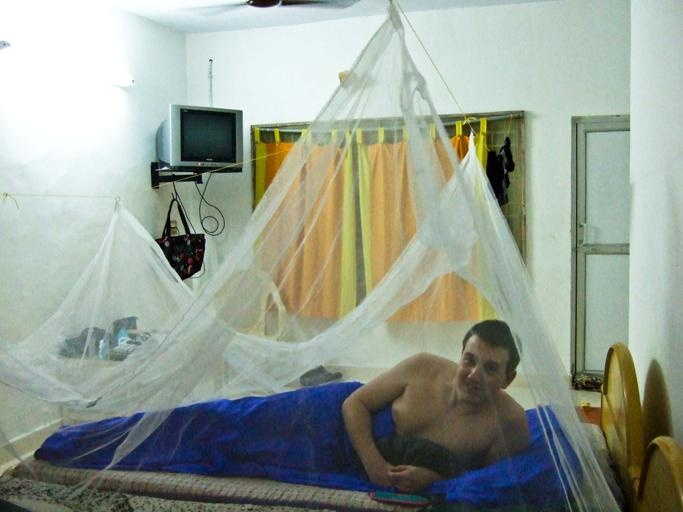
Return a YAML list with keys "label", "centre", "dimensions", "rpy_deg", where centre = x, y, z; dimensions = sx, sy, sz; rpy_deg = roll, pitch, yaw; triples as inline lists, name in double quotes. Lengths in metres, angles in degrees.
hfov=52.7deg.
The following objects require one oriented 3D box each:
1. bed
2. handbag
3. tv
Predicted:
- label: "bed"
  centre: [-0.096, 0.857, 3.013]
  dimensions: [1.993, 0.339, 1.103]
  rpy_deg: [1, 14, 10]
- label: "handbag"
  centre: [-1.158, -0.107, 4.919]
  dimensions: [0.330, 0.600, 0.527]
  rpy_deg: [-2, 9, -15]
- label: "tv"
  centre: [-0.977, -0.692, 4.944]
  dimensions: [0.480, 0.390, 0.382]
  rpy_deg: [-4, -21, -19]
